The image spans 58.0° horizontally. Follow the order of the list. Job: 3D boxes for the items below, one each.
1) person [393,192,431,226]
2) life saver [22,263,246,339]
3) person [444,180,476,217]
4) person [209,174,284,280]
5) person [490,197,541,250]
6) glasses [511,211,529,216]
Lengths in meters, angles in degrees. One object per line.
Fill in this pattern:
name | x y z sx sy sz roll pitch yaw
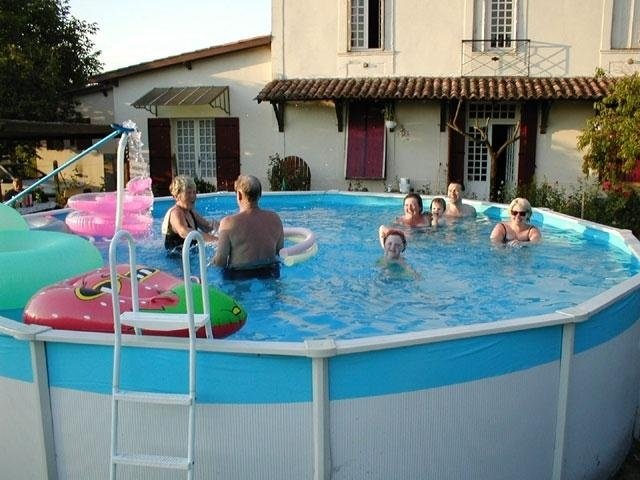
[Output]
person | 1.584 -0.478 10.015 0.699 0.745 0.482 -2 -6 28
life saver | -1.702 0.516 4.887 0.896 0.326 1.005 9 2 5
person | 2.596 -0.798 10.826 0.676 0.754 0.427 7 24 34
person | -0.853 -0.126 6.734 0.813 1.230 0.275 -6 12 -16
person | 2.941 -0.231 8.598 0.642 0.852 0.735 -11 27 -8
glasses | 2.916 -0.405 8.467 0.210 0.088 0.113 3 14 20
